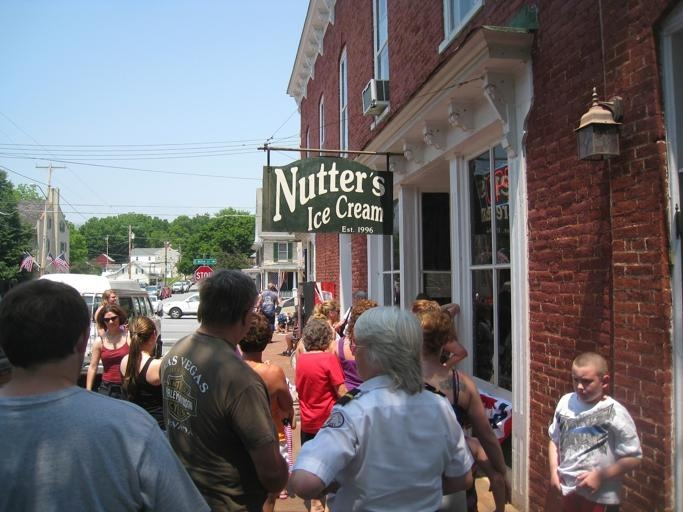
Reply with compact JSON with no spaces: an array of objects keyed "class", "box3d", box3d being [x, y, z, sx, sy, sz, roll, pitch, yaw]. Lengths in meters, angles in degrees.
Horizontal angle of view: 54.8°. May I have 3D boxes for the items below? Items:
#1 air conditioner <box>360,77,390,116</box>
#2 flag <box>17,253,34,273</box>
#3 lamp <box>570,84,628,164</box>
[{"class":"air conditioner","box3d":[0.507,-2.260,9.387,0.278,0.408,0.520,-2,-4,-13]},{"class":"flag","box3d":[-16.847,0.378,34.894,0.939,1.140,0.113,-5,-7,9]},{"class":"lamp","box3d":[1.875,-0.956,4.824,0.300,0.490,0.247,1,-2,-19]}]
